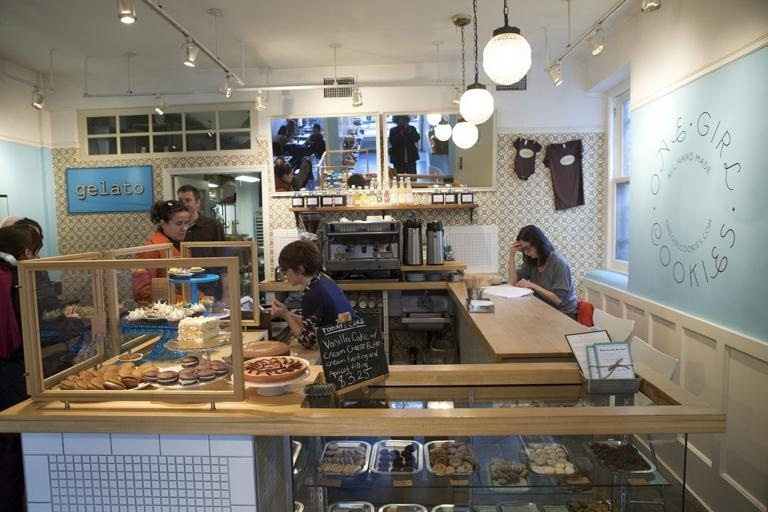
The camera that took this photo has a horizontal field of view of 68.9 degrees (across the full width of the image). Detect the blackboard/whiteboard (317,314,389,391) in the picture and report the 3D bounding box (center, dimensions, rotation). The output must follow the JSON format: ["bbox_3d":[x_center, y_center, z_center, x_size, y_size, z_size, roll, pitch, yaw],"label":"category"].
[{"bbox_3d":[-0.196,0.583,3.303,0.420,0.383,0.035,-14,-3,-22],"label":"blackboard/whiteboard"}]

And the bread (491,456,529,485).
[{"bbox_3d":[0.676,1.184,3.054,0.207,0.127,0.059,1,13,7],"label":"bread"}]

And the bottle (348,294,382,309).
[{"bbox_3d":[-0.217,0.532,6.502,0.273,0.120,0.273,0,8,0],"label":"bottle"}]

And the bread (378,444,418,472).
[{"bbox_3d":[0.076,1.147,3.188,0.217,0.130,0.048,-1,-14,-2],"label":"bread"}]

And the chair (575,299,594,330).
[{"bbox_3d":[1.830,0.544,5.130,0.120,0.195,0.176,-3,13,-25],"label":"chair"}]

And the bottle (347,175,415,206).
[{"bbox_3d":[-0.044,-0.839,7.089,0.874,0.394,0.222,-1,13,-3],"label":"bottle"}]

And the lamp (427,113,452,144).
[{"bbox_3d":[0.697,-1.625,7.069,0.303,0.346,0.197,0,13,3],"label":"lamp"}]

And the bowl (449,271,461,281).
[{"bbox_3d":[0.838,0.235,6.596,0.108,0.067,0.109,-1,6,0],"label":"bowl"}]

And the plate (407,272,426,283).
[{"bbox_3d":[0.367,0.244,6.557,0.214,0.085,0.109,-1,13,-2],"label":"plate"}]

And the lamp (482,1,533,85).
[{"bbox_3d":[0.870,-1.503,3.919,0.296,0.548,0.241,6,14,28],"label":"lamp"}]

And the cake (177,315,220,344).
[{"bbox_3d":[-1.037,0.411,3.123,0.179,0.108,0.176,0,6,17],"label":"cake"}]
